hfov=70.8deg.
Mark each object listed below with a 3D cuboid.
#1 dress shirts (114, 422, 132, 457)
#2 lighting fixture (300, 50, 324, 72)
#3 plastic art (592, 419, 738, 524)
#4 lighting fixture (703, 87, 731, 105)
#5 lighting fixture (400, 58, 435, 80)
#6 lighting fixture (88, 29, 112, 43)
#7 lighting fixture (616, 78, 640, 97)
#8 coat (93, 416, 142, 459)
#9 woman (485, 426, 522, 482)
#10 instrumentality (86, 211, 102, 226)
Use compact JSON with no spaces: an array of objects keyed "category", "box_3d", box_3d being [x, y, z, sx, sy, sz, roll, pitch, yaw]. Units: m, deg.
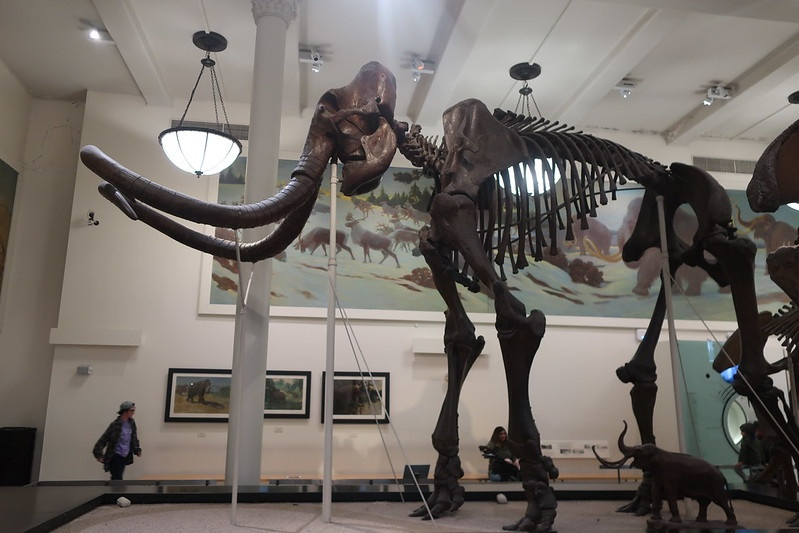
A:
[{"category":"dress shirts","box_3d":[-3.837,2.433,7.788,0.100,0.388,0.207,-2,-14,30]},{"category":"lighting fixture","box_3d":[-1.318,-3.112,8.489,0.365,0.340,0.284,-1,15,-4]},{"category":"plastic art","box_3d":[2.189,1.719,4.453,0.820,0.577,0.305,1,-8,0]},{"category":"lighting fixture","box_3d":[5.242,-2.817,9.235,0.294,0.181,0.406,2,5,28]},{"category":"lighting fixture","box_3d":[0.290,-3.067,8.605,0.358,0.133,0.373,-5,-18,15]},{"category":"lighting fixture","box_3d":[-4.457,-3.405,8.336,0.325,0.099,0.287,5,-8,-30]},{"category":"lighting fixture","box_3d":[3.698,-2.919,9.144,0.264,0.262,0.078,28,25,-12]},{"category":"coat","box_3d":[-4.021,2.441,7.940,0.638,0.606,0.348,12,-21,-34]},{"category":"woman","box_3d":[1.505,2.694,8.100,0.492,0.771,0.547,2,-12,-21]},{"category":"instrumentality","box_3d":[-4.895,-0.747,8.932,0.153,0.240,0.232,-1,0,2]}]
